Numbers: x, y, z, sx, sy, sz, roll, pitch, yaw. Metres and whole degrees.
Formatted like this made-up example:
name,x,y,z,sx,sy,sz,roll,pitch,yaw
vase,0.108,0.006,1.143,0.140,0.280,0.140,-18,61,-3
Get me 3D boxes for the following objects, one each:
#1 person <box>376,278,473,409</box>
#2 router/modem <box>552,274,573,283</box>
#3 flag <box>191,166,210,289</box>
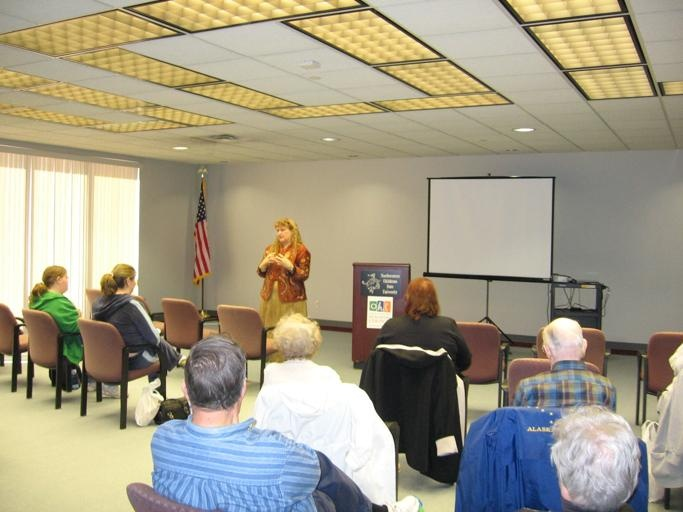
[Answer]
name,x,y,z,sx,sy,sz,roll,pitch,yaw
person,0.655,0.547,4.246,1.046,1.059,0.624,2,11,9
router/modem,3.395,0.356,7.958,0.237,0.080,0.170,2,0,-7
flag,-2.861,-0.577,10.649,0.360,2.377,0.897,0,4,-15
